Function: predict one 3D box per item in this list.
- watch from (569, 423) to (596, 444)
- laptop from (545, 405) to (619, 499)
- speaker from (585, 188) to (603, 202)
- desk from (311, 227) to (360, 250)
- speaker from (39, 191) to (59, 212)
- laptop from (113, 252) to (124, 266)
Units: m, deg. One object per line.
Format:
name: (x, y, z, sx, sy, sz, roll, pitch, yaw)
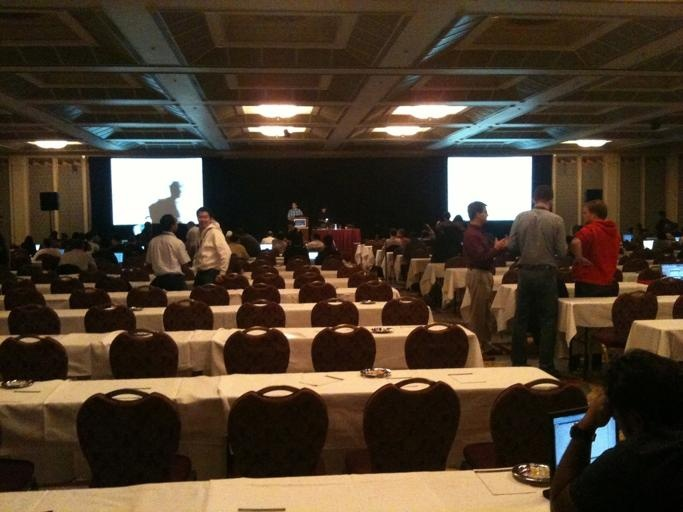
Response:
watch: (1.053, 0.777, 2.373, 0.103, 0.066, 0.107, 11, -7, -4)
laptop: (1.108, 0.912, 2.550, 0.374, 0.354, 0.298, -4, -6, 15)
speaker: (10.345, -2.559, 22.183, 0.653, 0.537, 2.254, 3, 5, 25)
desk: (0.055, -0.698, 20.275, 1.480, 0.667, 0.913, 0, 1, -8)
speaker: (-10.473, -1.971, 19.461, 0.559, 0.582, 0.506, 0, 5, -9)
laptop: (-5.650, 0.086, 13.700, 0.089, 0.328, 0.369, -10, 5, -22)
